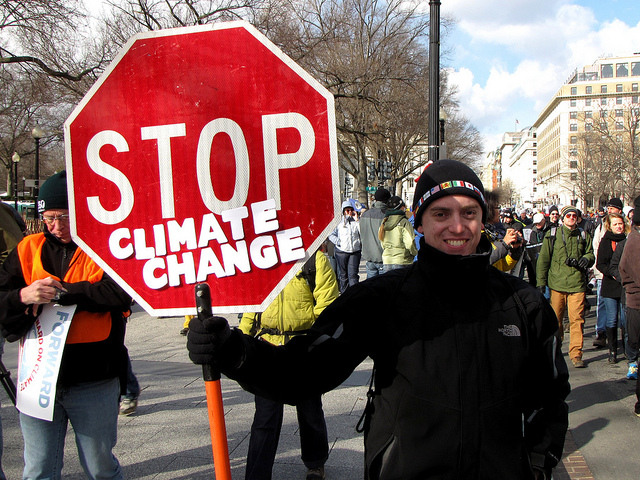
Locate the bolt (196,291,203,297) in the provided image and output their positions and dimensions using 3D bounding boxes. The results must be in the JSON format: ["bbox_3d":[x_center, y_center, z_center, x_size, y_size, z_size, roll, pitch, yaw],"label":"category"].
[{"bbox_3d":[-0.459,0.208,2.322,0.021,0.022,0.007,0,-2,-10],"label":"bolt"}]

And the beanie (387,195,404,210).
[{"bbox_3d":[1.284,-0.624,10.288,0.220,0.255,0.421,0,-2,11],"label":"beanie"}]

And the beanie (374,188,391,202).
[{"bbox_3d":[1.159,-0.828,11.311,0.199,0.227,0.267,12,18,20],"label":"beanie"}]

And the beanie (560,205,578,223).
[{"bbox_3d":[3.676,-0.445,8.913,0.222,0.252,0.310,4,-14,16],"label":"beanie"}]

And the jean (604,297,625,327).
[{"bbox_3d":[4.072,0.996,8.443,0.198,0.400,0.396,-1,-2,24],"label":"jean"}]

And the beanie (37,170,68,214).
[{"bbox_3d":[-1.708,-0.309,3.884,0.140,0.267,0.230,1,-2,-41],"label":"beanie"}]

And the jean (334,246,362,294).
[{"bbox_3d":[0.466,0.636,11.946,0.302,1.052,0.423,13,-2,7],"label":"jean"}]

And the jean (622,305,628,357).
[{"bbox_3d":[3.899,1.155,7.746,0.038,0.586,0.988,-1,-2,26],"label":"jean"}]

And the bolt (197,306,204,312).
[{"bbox_3d":[-0.459,0.267,2.340,0.025,0.023,0.014,0,-2,-6],"label":"bolt"}]

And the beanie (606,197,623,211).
[{"bbox_3d":[4.905,-0.574,10.036,0.181,0.208,0.255,5,11,0],"label":"beanie"}]

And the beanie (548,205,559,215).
[{"bbox_3d":[4.541,-0.574,11.793,0.159,0.138,0.169,0,9,4],"label":"beanie"}]

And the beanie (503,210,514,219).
[{"bbox_3d":[3.203,-0.428,10.268,0.132,0.181,0.521,-1,-2,13],"label":"beanie"}]

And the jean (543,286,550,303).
[{"bbox_3d":[4.029,0.911,10.757,0.071,0.235,1.304,-1,-2,20],"label":"jean"}]

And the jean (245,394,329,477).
[{"bbox_3d":[-0.232,1.493,4.655,0.309,0.625,0.703,-2,-2,40],"label":"jean"}]
